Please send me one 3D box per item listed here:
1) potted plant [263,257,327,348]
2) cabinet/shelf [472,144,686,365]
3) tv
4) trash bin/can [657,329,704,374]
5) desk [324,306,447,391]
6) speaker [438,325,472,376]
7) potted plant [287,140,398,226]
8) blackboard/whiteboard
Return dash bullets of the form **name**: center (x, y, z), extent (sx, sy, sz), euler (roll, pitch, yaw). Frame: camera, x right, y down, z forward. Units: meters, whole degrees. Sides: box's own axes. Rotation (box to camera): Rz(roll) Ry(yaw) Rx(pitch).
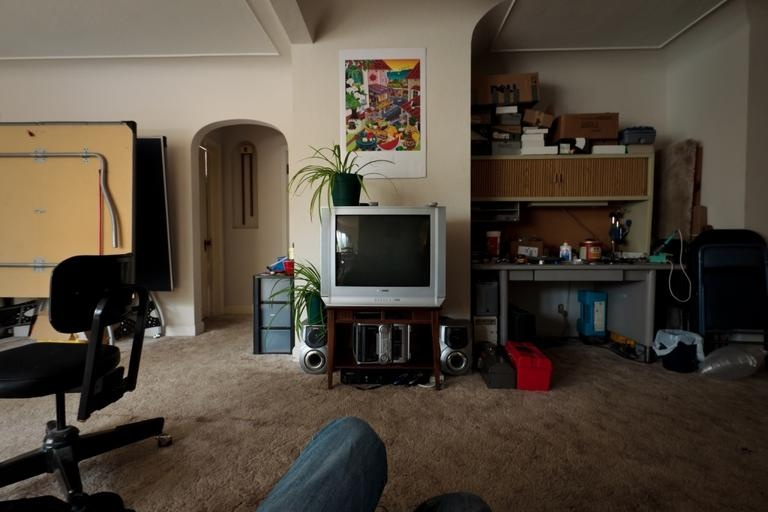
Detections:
- **potted plant**: center (-0.668, 0.350, 4.834), extent (0.658, 0.660, 0.562), euler (-2, 1, 10)
- **cabinet/shelf**: center (1.826, -0.052, 4.959), extent (1.939, 1.917, 0.690), euler (0, -2, 7)
- **tv**: center (-0.006, 0.037, 4.692), extent (1.309, 1.107, 0.717), euler (1, 3, 2)
- **trash bin/can**: center (2.458, 0.799, 4.513), extent (0.330, 0.289, 0.336), euler (1, 4, 31)
- **desk**: center (-0.009, 0.551, 4.585), extent (1.016, 0.762, 0.634), euler (0, -3, -2)
- **speaker**: center (0.603, 0.765, 4.488), extent (0.245, 0.425, 0.413), euler (-1, 1, 1)
- **potted plant**: center (-0.416, -0.592, 4.750), extent (0.713, 0.472, 0.733), euler (0, 2, 13)
- **blackboard/whiteboard**: center (-2.299, -0.426, 5.424), extent (0.184, 2.347, 1.305), euler (-3, 7, -22)
